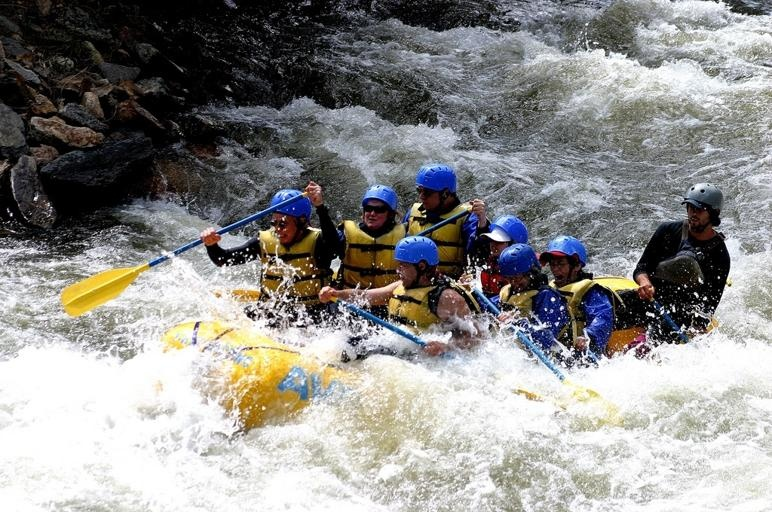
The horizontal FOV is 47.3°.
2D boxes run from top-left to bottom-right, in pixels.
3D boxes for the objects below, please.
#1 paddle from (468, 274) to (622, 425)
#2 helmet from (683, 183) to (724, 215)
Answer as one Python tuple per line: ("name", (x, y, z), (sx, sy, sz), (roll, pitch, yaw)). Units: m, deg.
("paddle", (1.809, 1.121, 10.078), (0.612, 0.194, 2.782), (-30, 59, -25))
("helmet", (3.899, -0.697, 10.779), (0.462, 0.252, 0.317), (1, 22, -29))
